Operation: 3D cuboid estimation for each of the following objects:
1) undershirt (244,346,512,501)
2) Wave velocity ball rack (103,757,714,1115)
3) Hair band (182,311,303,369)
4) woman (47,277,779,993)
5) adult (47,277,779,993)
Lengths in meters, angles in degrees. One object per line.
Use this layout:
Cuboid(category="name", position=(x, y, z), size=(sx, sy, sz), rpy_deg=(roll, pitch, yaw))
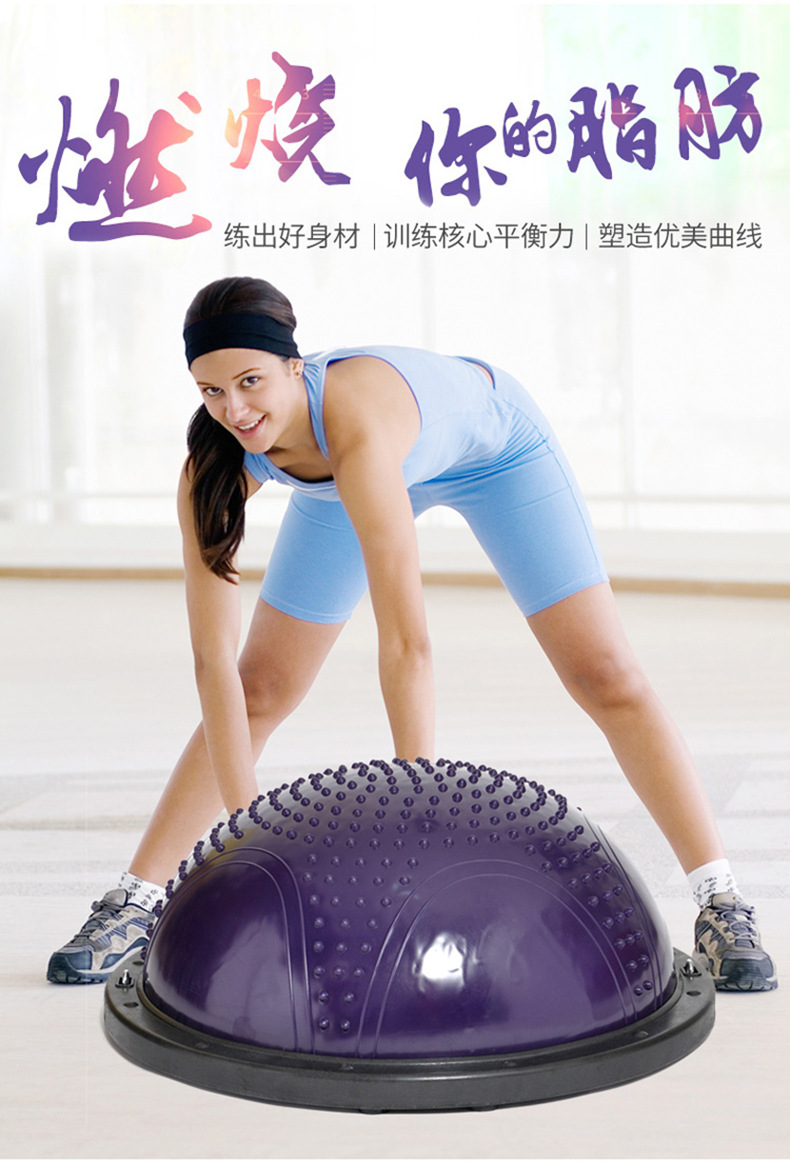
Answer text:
Cuboid(category="undershirt", position=(-0.006, -0.221, 1.523), size=(0.197, 0.117, 0.329), rpy_deg=(7, 16, 31))
Cuboid(category="Wave velocity ball rack", position=(0.003, 0.354, 1.305), size=(0.690, 0.289, 0.651), rpy_deg=(2, -4, -22))
Cuboid(category="Hair band", position=(-0.179, -0.275, 1.339), size=(0.091, 0.032, 0.080), rpy_deg=(-6, 2, -33))
Cuboid(category="woman", position=(-0.010, 0.058, 1.616), size=(1.153, 0.910, 0.580), rpy_deg=(3, 11, 21))
Cuboid(category="adult", position=(0.006, 0.061, 1.615), size=(1.175, 0.920, 0.597), rpy_deg=(-3, 12, 17))
